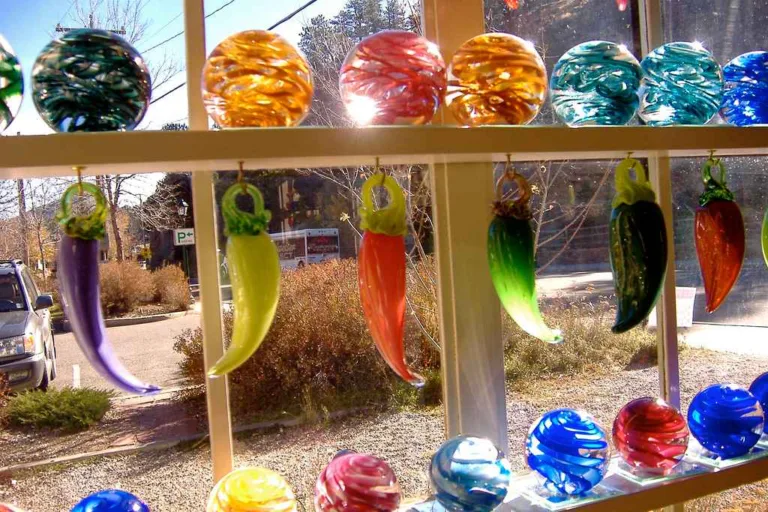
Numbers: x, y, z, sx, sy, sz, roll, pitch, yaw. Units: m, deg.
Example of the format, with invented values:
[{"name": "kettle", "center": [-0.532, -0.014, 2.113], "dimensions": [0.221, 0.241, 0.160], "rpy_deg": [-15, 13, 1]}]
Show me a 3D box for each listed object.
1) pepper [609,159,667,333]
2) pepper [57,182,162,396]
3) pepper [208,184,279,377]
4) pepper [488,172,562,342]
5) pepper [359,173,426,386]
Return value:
[{"name": "pepper", "center": [0.562, -0.026, 1.315], "dimensions": [0.164, 0.377, 0.106], "rpy_deg": [-10, 9, -42]}, {"name": "pepper", "center": [-0.569, 0.068, 1.177], "dimensions": [0.129, 0.429, 0.189], "rpy_deg": [-10, 9, -42]}, {"name": "pepper", "center": [-0.314, 0.050, 1.217], "dimensions": [0.168, 0.391, 0.146], "rpy_deg": [-11, 9, -43]}, {"name": "pepper", "center": [0.304, 0.000, 1.313], "dimensions": [0.137, 0.377, 0.131], "rpy_deg": [-5, 6, -4]}, {"name": "pepper", "center": [0.000, 0.046, 1.279], "dimensions": [0.108, 0.459, 0.186], "rpy_deg": [-7, 7, -19]}]
